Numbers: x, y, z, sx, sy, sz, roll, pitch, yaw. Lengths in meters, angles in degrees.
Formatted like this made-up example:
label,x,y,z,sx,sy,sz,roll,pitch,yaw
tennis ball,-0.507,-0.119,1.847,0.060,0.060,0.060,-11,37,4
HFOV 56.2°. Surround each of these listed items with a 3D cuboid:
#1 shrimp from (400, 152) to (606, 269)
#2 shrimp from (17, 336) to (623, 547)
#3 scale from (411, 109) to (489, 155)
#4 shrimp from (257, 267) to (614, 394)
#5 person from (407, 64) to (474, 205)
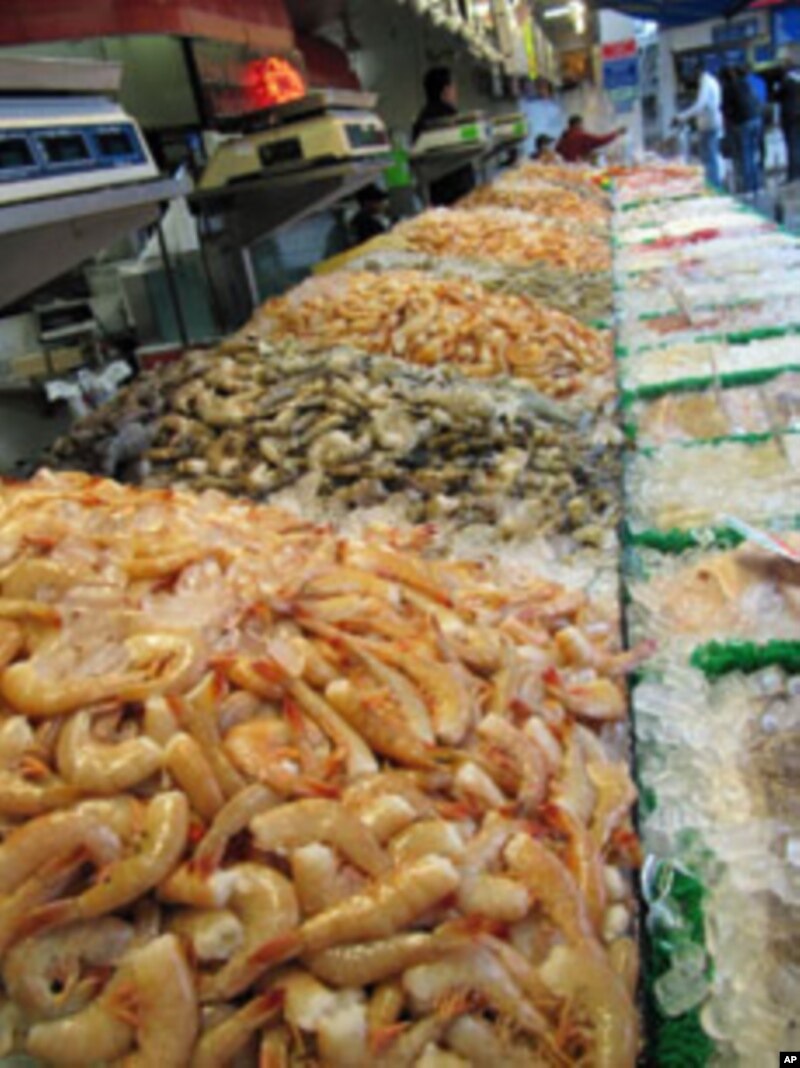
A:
label,x,y,z,sx,sy,sz,roll,pitch,yaw
shrimp,0.522,-1.342,3.150,0.929,0.346,1.099,11,33,6
shrimp,-0.073,-0.191,1.489,0.865,0.258,0.537,11,26,17
scale,0.270,-2.217,4.130,0.426,0.189,0.258,-9,20,8
shrimp,0.104,-0.564,1.901,0.726,0.213,0.464,16,24,14
person,0.250,-2.427,4.427,0.310,1.116,0.336,4,24,14
